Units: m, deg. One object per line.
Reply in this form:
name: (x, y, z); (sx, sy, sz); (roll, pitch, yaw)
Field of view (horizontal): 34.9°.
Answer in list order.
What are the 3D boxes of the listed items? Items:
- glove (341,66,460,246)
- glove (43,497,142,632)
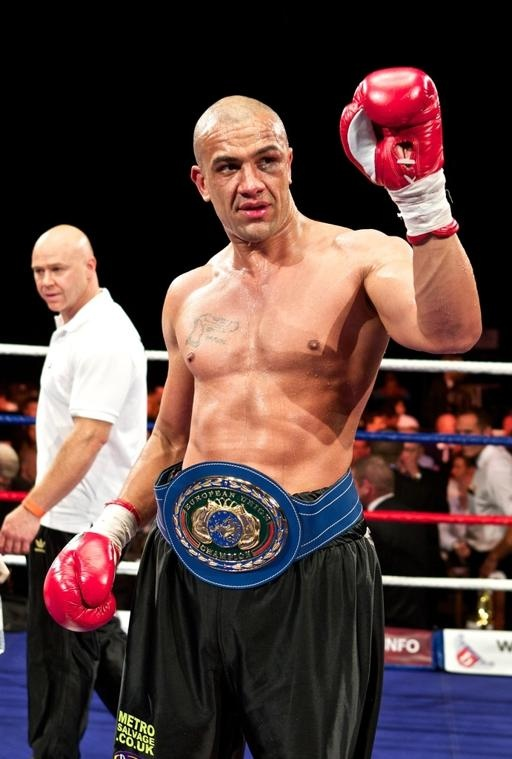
glove: (0.184, -0.306, 1.117); (0.175, 0.240, 0.106); (1, 6, 24)
glove: (-0.316, 0.357, 1.607); (0.144, 0.122, 0.263); (21, 44, -9)
